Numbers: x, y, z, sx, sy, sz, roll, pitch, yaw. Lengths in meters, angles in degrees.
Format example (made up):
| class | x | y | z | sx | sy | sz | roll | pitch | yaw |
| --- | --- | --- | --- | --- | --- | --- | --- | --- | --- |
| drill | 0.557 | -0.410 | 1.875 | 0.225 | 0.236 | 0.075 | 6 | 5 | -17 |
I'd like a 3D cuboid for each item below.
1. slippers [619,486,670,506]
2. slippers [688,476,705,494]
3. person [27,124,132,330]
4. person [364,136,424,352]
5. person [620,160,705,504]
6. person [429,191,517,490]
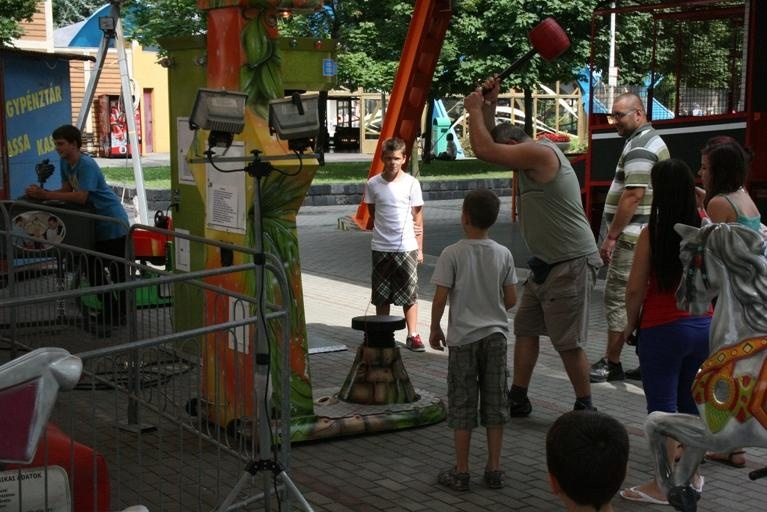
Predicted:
| class | x | y | z | sx | sy | sz | roll | pitch | yaw |
| --- | --- | --- | --- | --- | --- | --- | --- | --- | --- |
| slippers | 1.959 | 1.801 | 5.883 | 0.280 | 0.071 | 0.125 | 6 | 3 | 22 |
| slippers | 2.390 | 1.721 | 5.939 | 0.119 | 0.148 | 0.343 | -6 | -6 | 22 |
| person | -3.818 | -0.410 | 9.825 | 0.690 | 2.374 | 1.301 | 9 | 10 | 40 |
| person | 0.148 | -0.128 | 9.053 | 0.749 | 2.359 | 0.851 | 2 | -2 | -2 |
| person | 2.120 | 0.552 | 5.982 | 0.797 | 2.312 | 0.830 | 0 | -1 | 4 |
| person | 0.724 | 0.636 | 6.431 | 0.681 | 2.362 | 0.720 | 2 | -1 | -7 |
